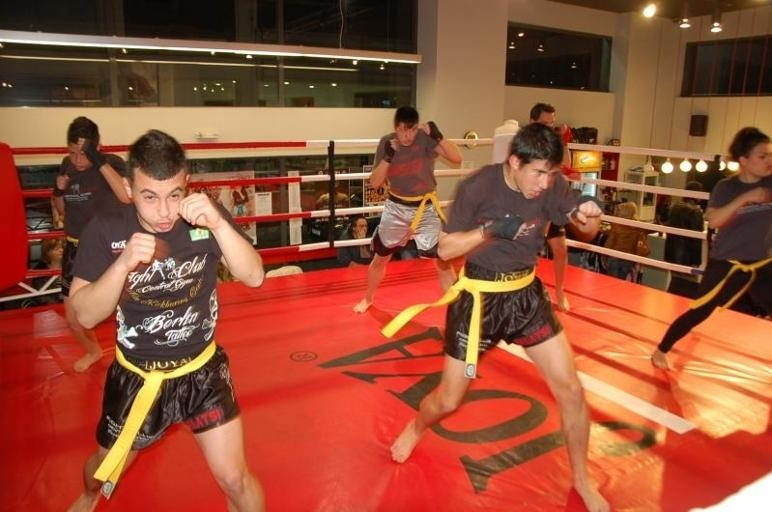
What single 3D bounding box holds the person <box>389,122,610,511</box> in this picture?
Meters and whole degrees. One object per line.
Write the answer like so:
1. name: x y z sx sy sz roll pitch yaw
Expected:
1. person: 0.721 0.291 2.906 1.194 2.015 0.712 5 20 15
